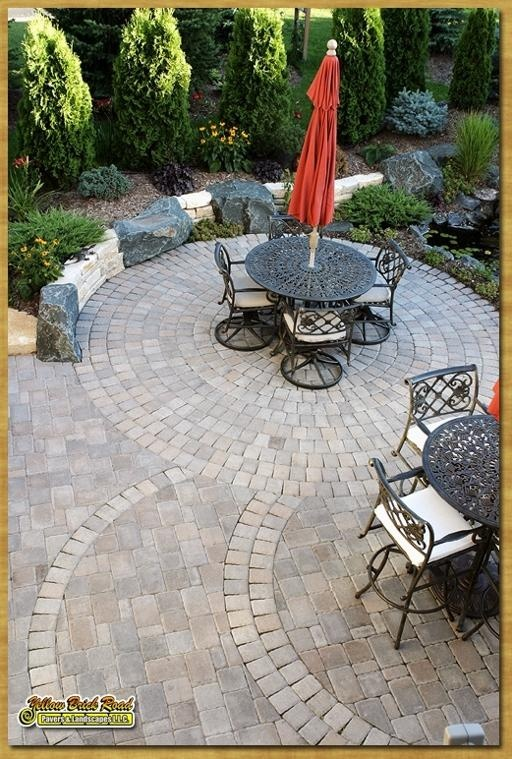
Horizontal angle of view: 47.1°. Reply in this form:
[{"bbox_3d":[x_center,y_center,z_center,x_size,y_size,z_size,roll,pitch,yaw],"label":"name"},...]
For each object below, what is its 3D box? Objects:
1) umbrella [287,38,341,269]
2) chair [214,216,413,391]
[{"bbox_3d":[0.634,-2.316,5.895,0.457,1.656,0.781,1,21,-5],"label":"umbrella"},{"bbox_3d":[0.578,-0.889,6.879,2.145,1.445,2.058,6,20,5],"label":"chair"}]
